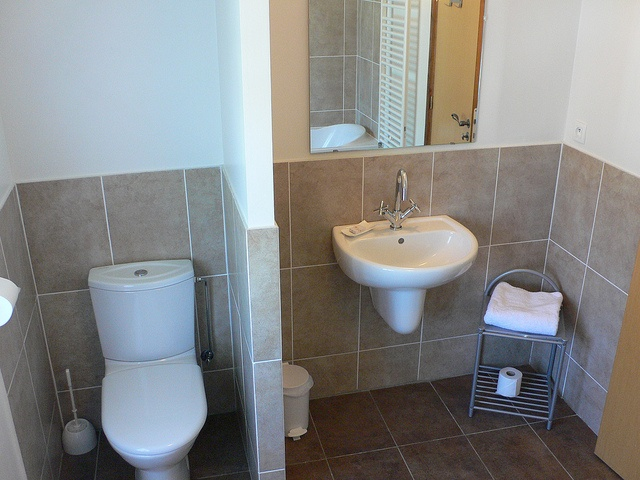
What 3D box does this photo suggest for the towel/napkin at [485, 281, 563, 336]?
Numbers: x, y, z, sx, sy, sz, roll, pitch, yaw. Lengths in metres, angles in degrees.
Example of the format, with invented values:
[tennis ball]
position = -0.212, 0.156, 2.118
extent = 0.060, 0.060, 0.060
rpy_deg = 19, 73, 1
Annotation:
[towel/napkin]
position = 1.175, 0.388, 3.138
extent = 0.388, 0.136, 0.395
rpy_deg = 11, 28, 24

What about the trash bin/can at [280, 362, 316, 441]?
[trash bin/can]
position = -0.124, 0.924, 3.142
extent = 0.163, 0.351, 0.262
rpy_deg = -2, 24, -3

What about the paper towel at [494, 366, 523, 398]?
[paper towel]
position = 1.133, 0.851, 3.279
extent = 0.148, 0.176, 0.154
rpy_deg = 10, 15, 25

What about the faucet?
[faucet]
position = 0.408, -0.227, 2.981
extent = 0.240, 0.333, 0.168
rpy_deg = -6, 20, -16

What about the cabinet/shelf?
[cabinet/shelf]
position = 1.214, 0.652, 3.335
extent = 0.500, 0.554, 0.885
rpy_deg = 7, 54, 23

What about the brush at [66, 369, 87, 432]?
[brush]
position = -1.358, 0.858, 2.980
extent = 0.052, 0.394, 0.112
rpy_deg = -14, 27, -28
